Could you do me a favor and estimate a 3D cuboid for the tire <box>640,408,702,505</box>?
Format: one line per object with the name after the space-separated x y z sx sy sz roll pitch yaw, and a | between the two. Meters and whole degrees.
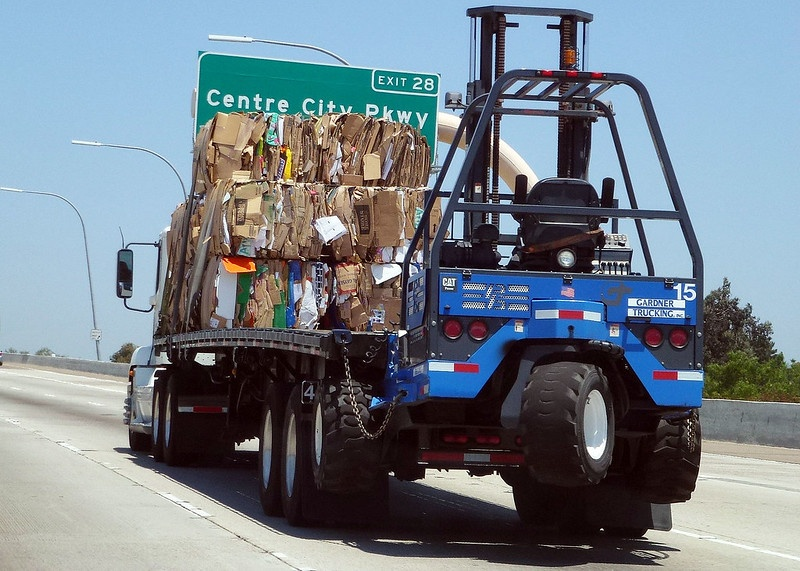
2.818 1.764 9.140 0.572 0.975 0.333 2 -5 12 | tire

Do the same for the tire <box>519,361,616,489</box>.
1.623 1.291 8.225 0.480 1.208 1.121 -5 -3 32 | tire

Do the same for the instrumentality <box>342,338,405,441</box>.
-0.275 1.089 8.974 0.330 0.936 0.943 7 -6 -40 | instrumentality

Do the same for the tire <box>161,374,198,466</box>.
-3.846 2.217 15.039 0.277 1.057 0.823 -9 -4 8 | tire

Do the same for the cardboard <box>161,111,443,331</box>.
-1.169 -0.838 11.940 2.465 1.255 3.458 1 -9 -8 | cardboard
